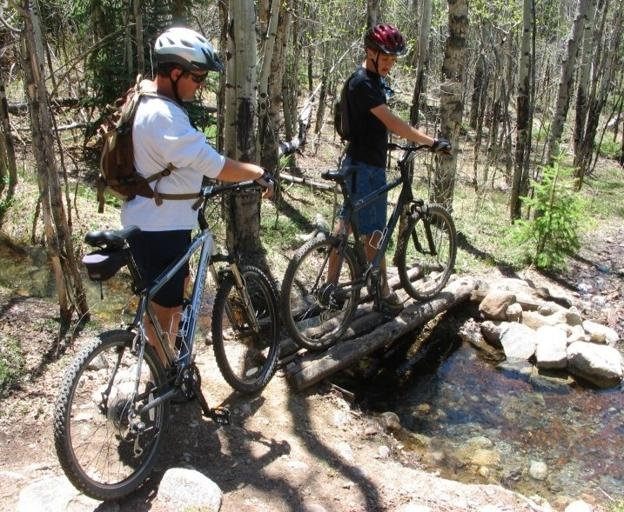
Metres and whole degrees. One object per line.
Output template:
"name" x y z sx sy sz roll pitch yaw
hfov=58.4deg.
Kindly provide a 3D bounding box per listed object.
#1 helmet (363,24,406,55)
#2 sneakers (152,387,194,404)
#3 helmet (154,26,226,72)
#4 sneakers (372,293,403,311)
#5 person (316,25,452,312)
"helmet" 0.665 -1.964 5.230 0.233 0.181 0.385 -11 47 -14
"sneakers" -1.057 1.045 4.200 0.144 0.061 0.158 -2 10 -34
"helmet" -0.896 -1.523 4.082 0.501 0.310 0.418 0 27 -5
"sneakers" 0.807 0.526 5.978 0.329 0.178 0.168 6 43 -47
"person" 0.528 -0.766 5.576 1.138 2.903 0.692 -8 21 -29
